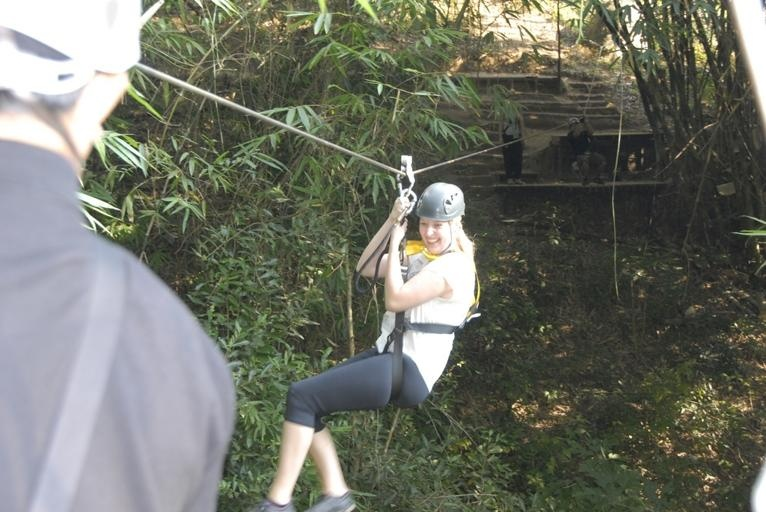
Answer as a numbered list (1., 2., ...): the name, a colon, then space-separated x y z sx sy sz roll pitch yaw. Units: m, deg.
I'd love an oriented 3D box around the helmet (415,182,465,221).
1. helmet: 0.290 -0.236 3.822 0.203 0.131 0.160 -2 35 -40
